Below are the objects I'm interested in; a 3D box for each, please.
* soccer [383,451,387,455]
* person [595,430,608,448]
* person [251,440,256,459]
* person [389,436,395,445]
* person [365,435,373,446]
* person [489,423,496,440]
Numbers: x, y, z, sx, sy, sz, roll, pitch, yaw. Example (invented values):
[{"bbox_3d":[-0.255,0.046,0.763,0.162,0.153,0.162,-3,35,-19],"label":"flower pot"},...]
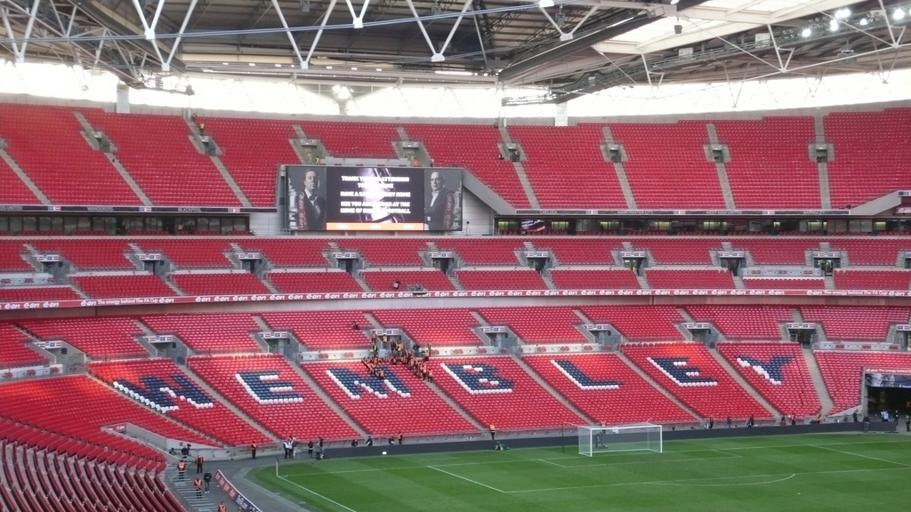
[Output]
[{"bbox_3d":[-6.205,17.313,138.945,0.490,0.220,0.327,-6,1,-4],"label":"soccer"},{"bbox_3d":[13.073,16.321,140.572,1.241,1.577,0.509,-8,2,-5],"label":"person"},{"bbox_3d":[-17.640,16.966,137.407,0.482,1.248,0.984,-9,2,-6],"label":"person"},{"bbox_3d":[-5.670,16.388,140.114,0.598,0.642,0.427,-8,2,-12],"label":"person"},{"bbox_3d":[-7.603,16.443,139.770,0.651,0.869,0.760,-8,2,-5],"label":"person"},{"bbox_3d":[3.418,15.830,142.073,0.633,1.253,0.950,-8,2,0],"label":"person"}]
